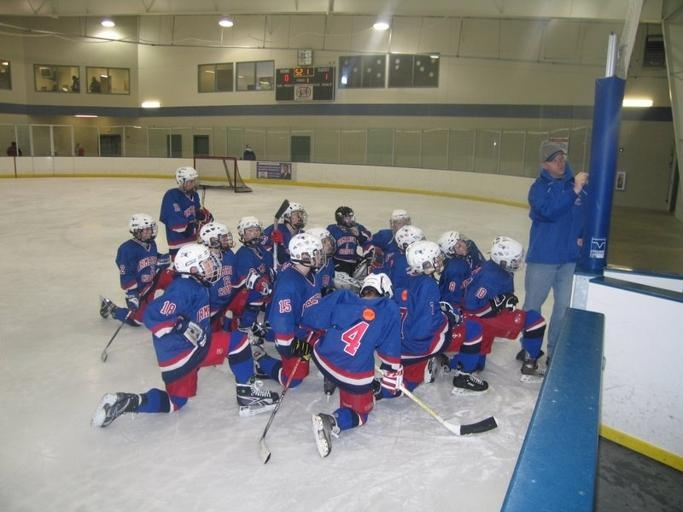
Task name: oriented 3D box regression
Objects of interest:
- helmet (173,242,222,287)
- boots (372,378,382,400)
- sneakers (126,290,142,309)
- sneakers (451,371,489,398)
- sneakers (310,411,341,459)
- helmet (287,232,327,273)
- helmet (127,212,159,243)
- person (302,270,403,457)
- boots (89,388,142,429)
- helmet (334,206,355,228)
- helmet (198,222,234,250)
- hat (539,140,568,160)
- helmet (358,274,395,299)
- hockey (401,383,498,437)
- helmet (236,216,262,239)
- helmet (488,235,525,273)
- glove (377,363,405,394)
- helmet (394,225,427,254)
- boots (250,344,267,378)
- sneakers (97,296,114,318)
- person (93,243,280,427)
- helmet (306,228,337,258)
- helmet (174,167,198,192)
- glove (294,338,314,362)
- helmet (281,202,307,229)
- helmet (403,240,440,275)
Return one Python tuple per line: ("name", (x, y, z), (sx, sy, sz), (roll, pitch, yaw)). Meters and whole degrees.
("helmet", (-1.058, 0.053, 3.960), (0.336, 0.310, 0.270), (-2, 13, -1))
("boots", (0.260, 0.964, 3.937), (0.048, 0.163, 0.063), (-4, -7, -4))
("sneakers", (-1.963, 0.398, 5.135), (0.142, 0.093, 0.196), (15, -5, -5))
("sneakers", (0.956, 0.947, 4.147), (0.338, 0.256, 0.123), (-3, 13, -9))
("sneakers", (-0.101, 1.082, 3.445), (0.144, 0.119, 0.323), (-3, 36, -14))
("helmet", (-0.262, -0.028, 4.175), (0.300, 0.294, 0.248), (-6, 9, -12))
("helmet", (-1.987, -0.293, 5.460), (0.294, 0.266, 0.238), (11, 14, 39))
("person", (0.088, 0.667, 3.604), (0.660, 1.034, 0.683), (-3, 12, -5))
("boots", (-1.557, 1.002, 3.703), (0.179, 0.204, 0.465), (22, -10, 3))
("helmet", (0.050, -0.457, 6.161), (0.240, 0.252, 0.197), (0, 6, 42))
("helmet", (-1.113, -0.209, 4.837), (0.273, 0.219, 0.214), (-8, 29, -23))
("hat", (1.764, -0.872, 4.543), (0.180, 0.147, 0.153), (3, 13, 19))
("helmet", (0.237, 0.212, 3.726), (0.150, 0.188, 0.194), (5, 24, 22))
("hockey", (0.744, 1.000, 3.695), (0.612, 0.327, 0.434), (4, 13, 23))
("helmet", (-0.873, -0.293, 5.194), (0.181, 0.227, 0.237), (-5, -10, -30))
("helmet", (1.339, -0.062, 4.414), (0.285, 0.280, 0.232), (13, 27, 9))
("glove", (0.340, 0.826, 3.721), (0.212, 0.219, 0.160), (-4, 16, 9))
("helmet", (0.628, -0.162, 4.886), (0.252, 0.272, 0.212), (-9, 53, 1))
("boots", (-0.674, 0.841, 4.456), (0.147, 0.365, 0.106), (3, 5, 39))
("sneakers", (-2.329, 0.496, 5.352), (0.094, 0.234, 0.135), (-5, 7, -38))
("person", (-1.100, 0.551, 3.899), (1.237, 1.161, 0.626), (-3, -2, -17))
("helmet", (-0.183, -0.125, 5.158), (0.300, 0.301, 0.248), (-4, 8, -1))
("helmet", (-1.990, -0.994, 6.990), (0.237, 0.294, 0.343), (-6, 13, -19))
("glove", (-0.272, 0.683, 3.913), (0.118, 0.131, 0.148), (7, -6, 7))
("helmet", (-0.516, -0.419, 5.597), (0.267, 0.277, 0.219), (-14, 0, 17))
("helmet", (0.636, 0.036, 4.123), (0.276, 0.250, 0.238), (-12, 12, 10))
